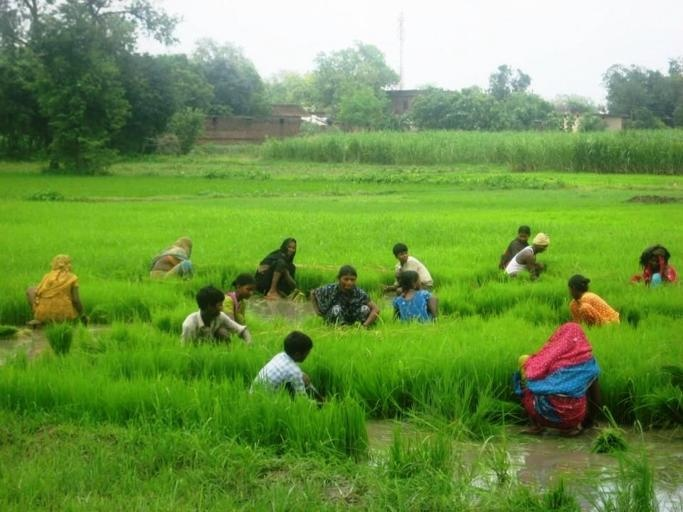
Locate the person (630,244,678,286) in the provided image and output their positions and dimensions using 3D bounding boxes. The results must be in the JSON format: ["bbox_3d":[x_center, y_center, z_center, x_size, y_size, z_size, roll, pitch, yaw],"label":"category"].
[{"bbox_3d":[5.391,0.225,13.514,0.660,1.015,0.702,3,-3,-18],"label":"person"}]

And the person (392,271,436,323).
[{"bbox_3d":[1.147,0.578,12.139,0.651,0.871,0.709,4,11,30],"label":"person"}]

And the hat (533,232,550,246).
[{"bbox_3d":[3.670,-0.284,14.312,0.325,0.272,0.345,0,4,-5],"label":"hat"}]

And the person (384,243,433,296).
[{"bbox_3d":[1.102,0.241,13.262,0.815,0.907,0.491,-13,2,-39],"label":"person"}]

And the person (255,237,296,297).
[{"bbox_3d":[-1.122,0.306,14.899,0.854,1.350,1.138,0,13,1],"label":"person"}]

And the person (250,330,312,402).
[{"bbox_3d":[-0.647,1.345,9.405,0.763,0.940,0.659,-3,20,-19],"label":"person"}]

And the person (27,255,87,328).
[{"bbox_3d":[-4.504,0.544,12.246,0.885,1.093,0.543,0,4,22],"label":"person"}]

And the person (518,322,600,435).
[{"bbox_3d":[2.522,1.429,9.190,0.960,1.315,0.571,-1,4,14],"label":"person"}]

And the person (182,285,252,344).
[{"bbox_3d":[-1.734,0.919,10.828,1.002,1.058,0.610,4,11,4],"label":"person"}]

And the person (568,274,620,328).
[{"bbox_3d":[3.509,0.577,11.101,0.704,0.921,0.672,0,9,35],"label":"person"}]

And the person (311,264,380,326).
[{"bbox_3d":[0.051,0.588,12.005,0.899,1.183,0.840,-1,-4,-21],"label":"person"}]

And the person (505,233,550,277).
[{"bbox_3d":[3.524,0.021,14.655,0.672,0.991,0.747,14,13,24],"label":"person"}]

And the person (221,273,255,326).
[{"bbox_3d":[-1.541,0.682,11.739,0.379,0.818,0.466,10,19,11],"label":"person"}]
